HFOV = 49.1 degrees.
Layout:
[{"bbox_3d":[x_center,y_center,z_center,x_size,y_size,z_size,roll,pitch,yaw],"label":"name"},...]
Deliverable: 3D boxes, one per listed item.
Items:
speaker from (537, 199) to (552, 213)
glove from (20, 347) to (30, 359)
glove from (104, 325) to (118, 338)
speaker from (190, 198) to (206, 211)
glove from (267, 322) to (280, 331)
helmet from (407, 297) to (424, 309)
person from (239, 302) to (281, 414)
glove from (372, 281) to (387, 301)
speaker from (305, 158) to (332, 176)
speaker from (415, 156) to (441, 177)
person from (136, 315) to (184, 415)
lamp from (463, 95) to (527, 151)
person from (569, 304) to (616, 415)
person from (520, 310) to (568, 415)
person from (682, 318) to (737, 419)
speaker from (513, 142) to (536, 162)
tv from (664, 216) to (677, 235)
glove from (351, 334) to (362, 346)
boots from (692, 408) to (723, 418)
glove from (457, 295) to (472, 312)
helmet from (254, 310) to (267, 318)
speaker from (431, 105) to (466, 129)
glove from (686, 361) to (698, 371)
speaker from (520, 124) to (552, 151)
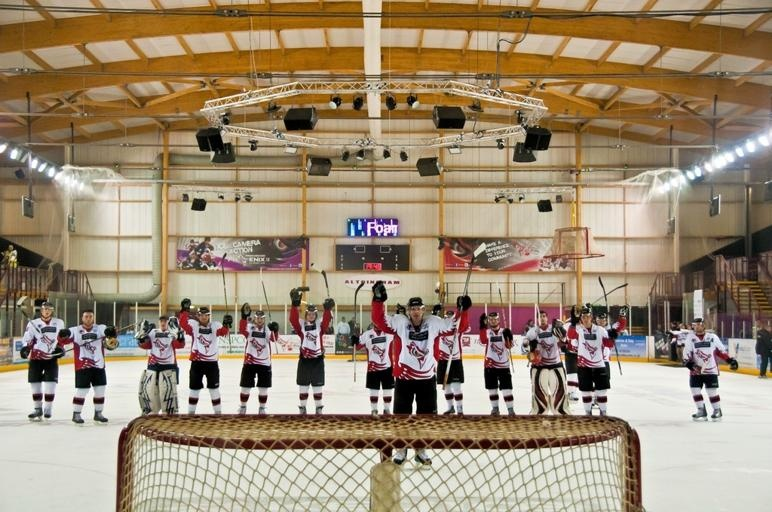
[{"bbox_3d":[7.396,-2.288,38.957,0.640,0.611,0.228,2,-2,6],"label":"speaker"},{"bbox_3d":[-9.832,2.648,22.784,0.255,0.320,0.272,8,32,-8],"label":"glove"},{"bbox_3d":[-7.300,2.030,22.387,0.241,0.314,0.320,2,-41,-11],"label":"glove"},{"bbox_3d":[-8.264,-2.270,37.207,0.515,0.492,0.412,3,-10,-20],"label":"speaker"},{"bbox_3d":[-3.015,1.894,22.680,0.269,0.343,0.353,1,-12,-9],"label":"glove"},{"bbox_3d":[0.672,1.085,19.394,0.300,0.262,0.352,3,-9,-18],"label":"helmet"},{"bbox_3d":[-3.475,2.754,22.838,0.972,2.938,1.486,1,-9,-9],"label":"person"},{"bbox_3d":[-0.136,0.807,18.973,0.317,0.468,0.889,0,-9,-2],"label":"glove"},{"bbox_3d":[-2.592,-3.465,32.646,0.931,0.721,0.518,-3,-9,16],"label":"speaker"},{"bbox_3d":[1.686,-3.515,32.982,0.807,0.841,1.017,-2,-9,8],"label":"speaker"},{"bbox_3d":[-5.818,2.799,21.685,1.138,2.484,0.690,2,-9,-15],"label":"person"},{"bbox_3d":[4.370,-5.550,33.504,2.932,1.287,2.372,-1,1,33],"label":"lamp"},{"bbox_3d":[5.455,2.726,22.150,1.648,2.836,0.842,5,-11,-30],"label":"person"},{"bbox_3d":[4.137,2.720,21.678,1.062,2.625,0.686,-2,-9,11],"label":"person"},{"bbox_3d":[8.864,3.095,23.211,1.194,2.812,1.498,-4,-10,21],"label":"person"},{"bbox_3d":[5.118,-3.630,30.154,0.778,0.692,1.007,0,-2,-13],"label":"speaker"},{"bbox_3d":[13.167,-1.352,38.756,0.307,0.888,0.921,2,-3,14],"label":"tv"},{"bbox_3d":[-0.775,2.258,22.430,0.263,0.277,0.293,0,-6,1],"label":"glove"},{"bbox_3d":[8.701,4.259,22.880,0.952,0.381,0.315,1,-7,5],"label":"boots"},{"bbox_3d":[1.852,1.110,19.700,0.310,0.379,0.408,0,3,11],"label":"glove"},{"bbox_3d":[-3.404,1.589,22.772,0.354,0.163,0.481,1,-8,-7],"label":"helmet"},{"bbox_3d":[2.130,-4.566,28.798,1.446,0.707,0.996,3,-8,-9],"label":"speaker"},{"bbox_3d":[8.334,2.986,22.841,0.182,0.184,0.309,2,-7,-1],"label":"glove"},{"bbox_3d":[5.223,-4.001,28.855,0.841,0.723,0.725,-2,-9,10],"label":"speaker"}]
